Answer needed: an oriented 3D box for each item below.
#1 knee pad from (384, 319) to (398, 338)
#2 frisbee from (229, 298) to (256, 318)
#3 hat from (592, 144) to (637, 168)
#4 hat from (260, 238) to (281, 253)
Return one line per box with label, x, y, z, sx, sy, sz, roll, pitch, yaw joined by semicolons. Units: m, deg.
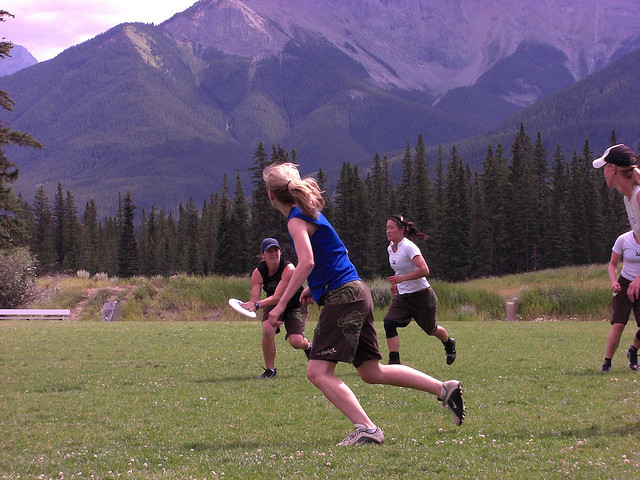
knee pad;1.537;1.947;18.396;0.286;0.393;0.198;0;1;5
frisbee;-1.405;1.223;15.204;0.378;0.115;0.390;33;19;14
hat;5.678;-1.663;16.285;0.716;0.432;0.486;7;8;25
hat;-1.105;0.134;18.307;0.342;0.276;0.561;0;1;-9
